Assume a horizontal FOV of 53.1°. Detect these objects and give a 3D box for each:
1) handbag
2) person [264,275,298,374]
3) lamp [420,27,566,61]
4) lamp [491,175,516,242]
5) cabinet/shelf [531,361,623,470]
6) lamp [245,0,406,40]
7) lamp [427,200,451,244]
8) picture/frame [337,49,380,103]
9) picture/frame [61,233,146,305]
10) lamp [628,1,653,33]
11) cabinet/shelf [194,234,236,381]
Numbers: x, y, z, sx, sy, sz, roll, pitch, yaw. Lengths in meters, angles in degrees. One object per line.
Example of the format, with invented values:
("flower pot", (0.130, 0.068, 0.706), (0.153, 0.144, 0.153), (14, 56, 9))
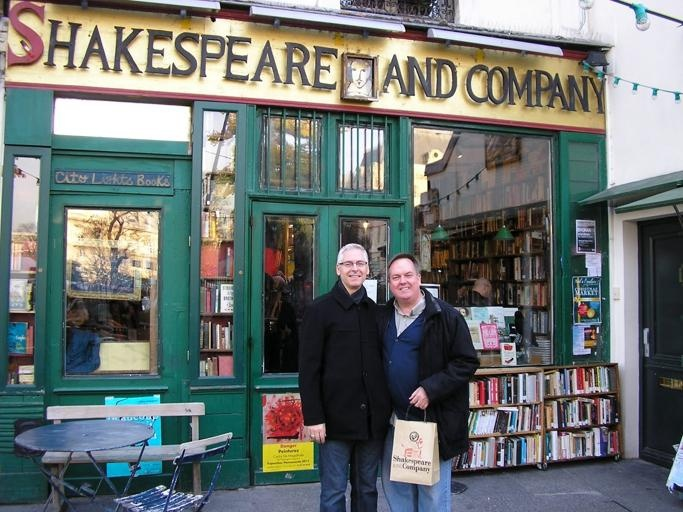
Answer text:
("handbag", (0.559, 1.447, 5.135), (0.359, 0.465, 0.225), (2, 10, 8))
("person", (-0.642, 0.719, 7.218), (0.345, 0.981, 0.235), (0, 10, -7))
("lamp", (1.727, -2.390, 7.662), (1.648, 0.238, 0.221), (-1, 11, -14))
("lamp", (1.893, -0.350, 8.004), (0.268, 0.391, 0.293), (0, -5, 8))
("cabinet/shelf", (2.618, 1.836, 7.680), (0.912, 1.067, 0.340), (1, -7, -14))
("lamp", (-0.131, -2.497, 7.212), (1.669, 0.232, 0.295), (-2, 11, -16))
("lamp", (1.099, -0.382, 7.693), (0.241, 0.449, 0.091), (-3, 10, -23))
("picture/frame", (0.165, -1.922, 7.380), (0.484, 0.629, 0.139), (2, -4, -14))
("picture/frame", (-2.482, 0.150, 7.012), (0.619, 0.605, 0.032), (2, 0, -11))
("lamp", (3.009, -2.418, 6.896), (0.173, 0.275, 0.371), (6, 12, 27))
("cabinet/shelf", (-1.298, 0.539, 7.098), (0.334, 1.369, 0.310), (0, 10, -6))
